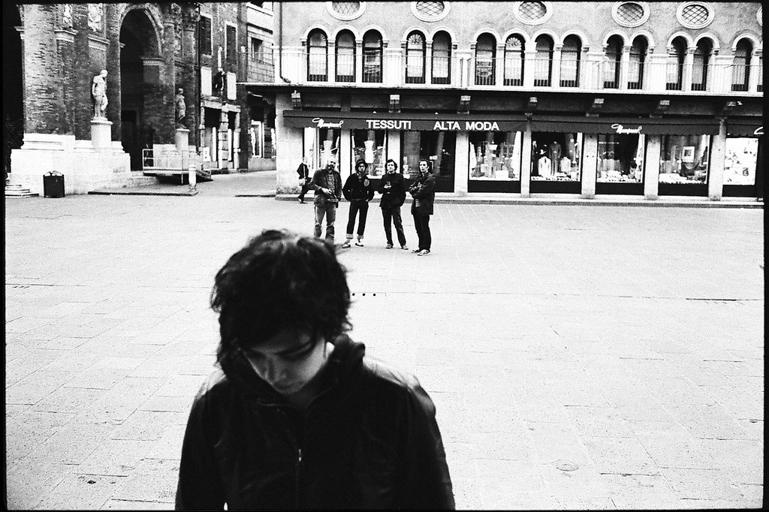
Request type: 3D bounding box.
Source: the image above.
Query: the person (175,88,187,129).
[{"bbox_3d":[-11.057,-8.036,42.322,0.525,2.125,1.242,-2,8,-6],"label":"person"}]

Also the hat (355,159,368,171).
[{"bbox_3d":[-0.512,-2.011,16.890,0.261,0.072,0.266,-4,-12,10],"label":"hat"}]

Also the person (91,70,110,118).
[{"bbox_3d":[-12.243,-6.986,33.467,0.409,2.096,0.844,1,9,14],"label":"person"}]

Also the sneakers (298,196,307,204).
[{"bbox_3d":[-3.014,-2.059,28.256,0.150,0.285,0.392,-1,-2,-30],"label":"sneakers"}]

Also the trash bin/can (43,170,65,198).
[{"bbox_3d":[-12.343,-2.699,29.051,0.719,0.977,0.675,-5,9,-27],"label":"trash bin/can"}]
